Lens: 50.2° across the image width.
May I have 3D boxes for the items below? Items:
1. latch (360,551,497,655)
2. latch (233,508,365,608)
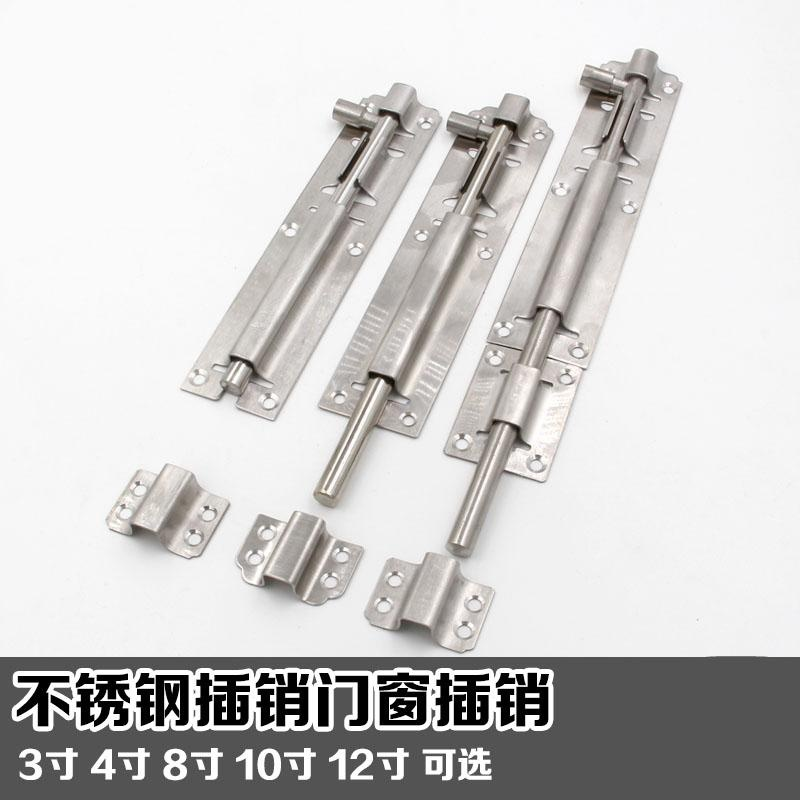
[{"bbox_3d":[0.054,0.359,1.520,0.237,0.164,0.058,13,-33,14],"label":"latch"},{"bbox_3d":[-0.187,0.285,1.565,0.221,0.144,0.094,20,-31,1],"label":"latch"}]
